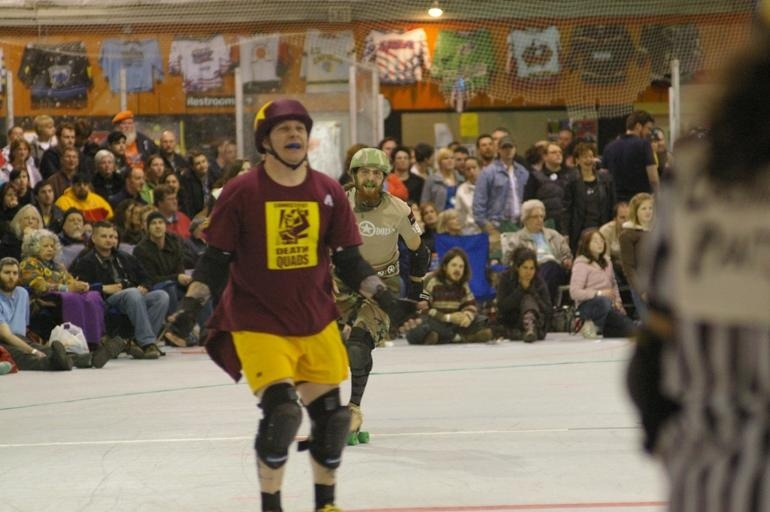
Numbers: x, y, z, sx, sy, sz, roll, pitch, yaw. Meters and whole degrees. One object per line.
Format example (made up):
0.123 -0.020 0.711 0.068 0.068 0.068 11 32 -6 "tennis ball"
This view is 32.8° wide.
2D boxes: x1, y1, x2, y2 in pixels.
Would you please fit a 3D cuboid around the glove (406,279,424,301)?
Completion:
0.252 0.281 11.121 0.155 0.181 0.162 2 2 2 "glove"

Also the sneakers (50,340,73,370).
-3.268 1.027 13.247 0.180 0.306 0.086 -27 35 -25 "sneakers"

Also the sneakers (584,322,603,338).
2.372 0.866 15.052 0.183 0.273 0.192 -2 0 4 "sneakers"

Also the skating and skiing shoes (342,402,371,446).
-0.230 1.364 10.458 0.233 0.370 0.139 -6 4 -39 "skating and skiing shoes"

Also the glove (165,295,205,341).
-1.409 0.419 9.252 0.235 0.369 0.437 -4 10 -12 "glove"

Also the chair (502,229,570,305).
1.731 0.147 15.233 0.646 0.986 0.544 5 -18 -16 "chair"

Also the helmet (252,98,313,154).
-0.779 -0.958 9.161 0.289 0.165 0.422 3 -33 -23 "helmet"

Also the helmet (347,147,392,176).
-0.118 -0.789 10.603 0.210 0.202 0.244 8 -12 -7 "helmet"

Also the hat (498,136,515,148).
1.462 -1.412 15.992 0.205 0.126 0.305 -1 -3 0 "hat"
